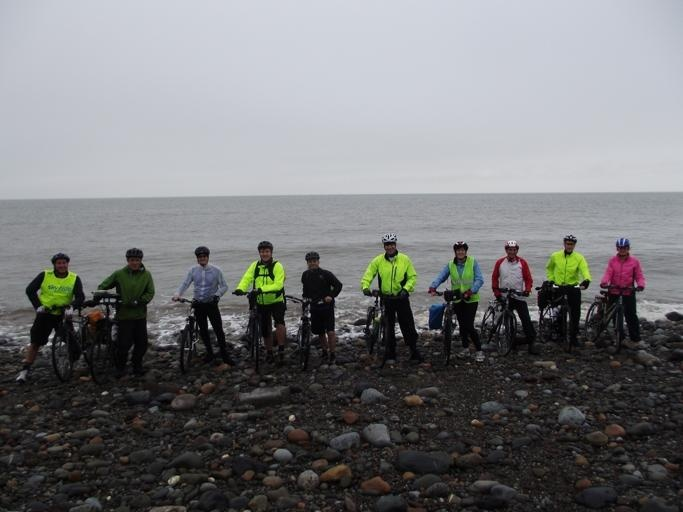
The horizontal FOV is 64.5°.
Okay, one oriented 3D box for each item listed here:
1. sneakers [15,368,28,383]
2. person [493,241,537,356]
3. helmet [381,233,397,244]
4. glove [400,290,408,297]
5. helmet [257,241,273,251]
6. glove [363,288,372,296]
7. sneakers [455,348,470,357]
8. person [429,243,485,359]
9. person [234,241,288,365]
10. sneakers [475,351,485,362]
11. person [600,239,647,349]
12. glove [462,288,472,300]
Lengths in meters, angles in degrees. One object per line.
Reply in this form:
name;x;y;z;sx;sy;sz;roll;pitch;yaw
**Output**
sneakers;-8.087;3.065;13.823;0.239;0.390;0.170;1;-13;38
person;4.736;1.097;14.803;1.195;3.167;1.449;2;14;17
helmet;1.207;-0.429;13.584;0.325;0.171;0.418;-2;2;4
glove;1.587;0.959;13.630;0.170;0.150;0.163;-6;-2;9
helmet;-1.952;-0.249;14.002;0.344;0.256;0.460;-5;14;-14
glove;0.663;0.923;13.575;0.156;0.191;0.172;12;-38;-13
sneakers;3.412;2.652;14.807;0.555;0.220;0.193;2;-3;-37
person;3.135;1.225;14.173;1.202;3.148;0.818;1;14;13
person;-2.003;1.280;14.327;1.097;3.378;1.187;-5;14;-9
sneakers;3.698;2.711;14.448;0.207;0.227;0.562;-4;-9;16
person;7.922;1.078;15.244;1.056;3.174;1.493;5;16;29
glove;3.227;1.000;13.845;0.198;0.096;0.268;-7;36;39
